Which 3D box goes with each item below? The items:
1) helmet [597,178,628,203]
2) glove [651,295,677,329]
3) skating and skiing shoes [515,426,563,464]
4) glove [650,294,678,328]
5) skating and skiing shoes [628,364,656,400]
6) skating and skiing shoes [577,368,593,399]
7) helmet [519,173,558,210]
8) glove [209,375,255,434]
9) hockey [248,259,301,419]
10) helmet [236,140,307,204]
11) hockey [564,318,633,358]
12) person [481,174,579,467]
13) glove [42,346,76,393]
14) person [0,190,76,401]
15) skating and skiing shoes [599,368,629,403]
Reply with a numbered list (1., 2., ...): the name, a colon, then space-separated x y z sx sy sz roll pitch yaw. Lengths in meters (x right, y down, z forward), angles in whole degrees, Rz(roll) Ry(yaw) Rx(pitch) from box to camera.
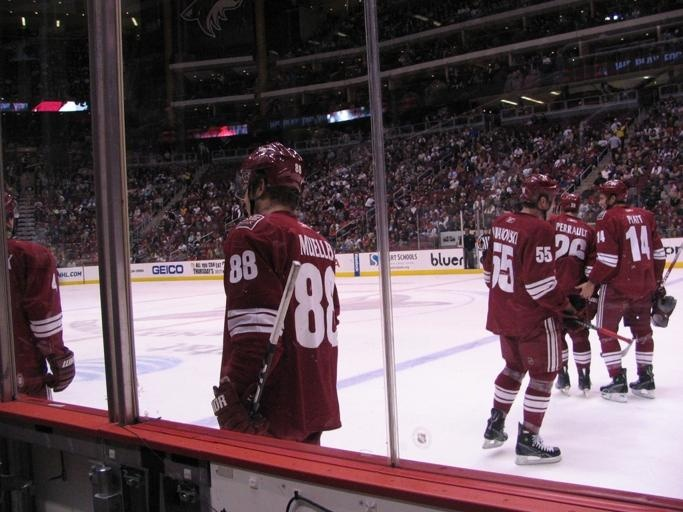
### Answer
1. helmet: 1.741 -0.436 4.856 0.134 0.175 0.170 -8 19 -34
2. glove: 2.027 0.346 4.770 0.114 0.221 0.091 26 9 31
3. skating and skiing shoes: 0.904 0.917 3.612 0.235 0.182 0.083 -1 -2 -13
4. glove: 2.025 0.338 4.773 0.115 0.225 0.091 23 8 32
5. skating and skiing shoes: 1.703 0.701 4.312 0.075 0.186 0.246 -2 -4 -6
6. skating and skiing shoes: 1.470 0.745 4.596 0.070 0.116 0.242 -6 -9 13
7. helmet: 1.076 -0.346 4.128 0.201 0.212 0.162 -8 7 -19
8. glove: -0.441 0.593 3.055 0.169 0.223 0.070 0 5 1
9. hockey: -0.272 0.303 3.052 0.055 0.712 0.052 26 24 18
10. helmet: -0.315 -0.367 3.288 0.267 0.258 0.225 -5 -3 18
11. hockey: 1.469 0.514 4.371 0.414 0.204 0.281 4 8 28
12. person: 0.963 0.241 3.956 0.439 1.340 0.971 1 5 11
13. glove: -1.531 0.578 4.114 0.146 0.288 0.197 4 9 5
14. person: -1.592 0.345 4.047 0.305 0.865 0.168 -2 5 -25
15. skating and skiing shoes: 1.524 0.709 4.241 0.085 0.185 0.252 -3 -2 -18
